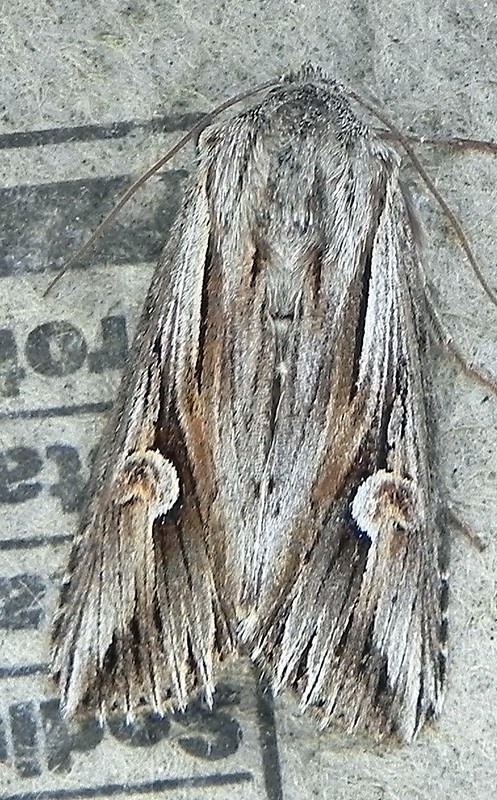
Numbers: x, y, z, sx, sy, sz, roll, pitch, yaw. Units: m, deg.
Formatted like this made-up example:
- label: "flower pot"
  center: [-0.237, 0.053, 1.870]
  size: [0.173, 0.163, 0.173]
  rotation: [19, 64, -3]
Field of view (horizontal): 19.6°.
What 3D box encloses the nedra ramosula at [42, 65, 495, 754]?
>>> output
- label: "nedra ramosula"
  center: [0.028, 0.025, 2.663]
  size: [0.737, 1.223, 0.264]
  rotation: [3, 6, 7]
